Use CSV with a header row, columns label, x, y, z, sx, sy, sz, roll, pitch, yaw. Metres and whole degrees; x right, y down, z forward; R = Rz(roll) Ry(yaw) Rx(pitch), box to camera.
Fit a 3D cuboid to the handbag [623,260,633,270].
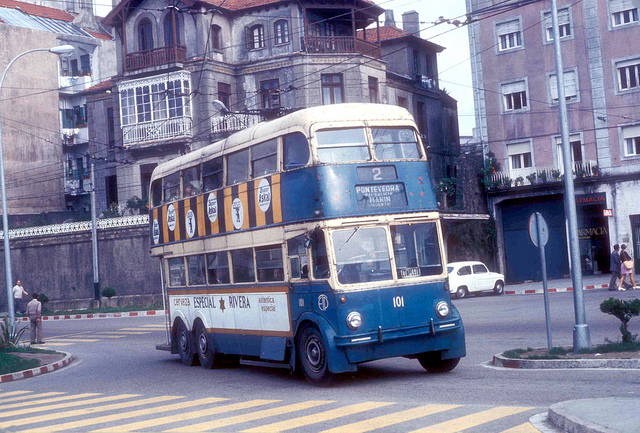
label,x,y,z,sx,sy,sz,roll,pitch,yaw
handbag,13.609,2.176,33.877,0.375,0.437,0.318,-4,-4,4
